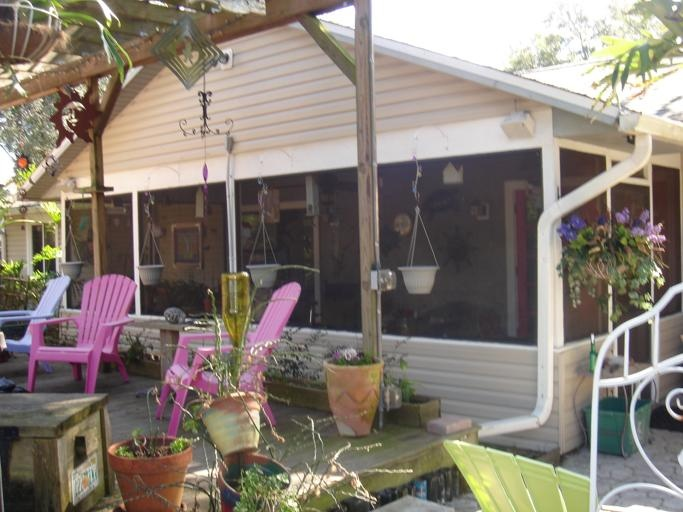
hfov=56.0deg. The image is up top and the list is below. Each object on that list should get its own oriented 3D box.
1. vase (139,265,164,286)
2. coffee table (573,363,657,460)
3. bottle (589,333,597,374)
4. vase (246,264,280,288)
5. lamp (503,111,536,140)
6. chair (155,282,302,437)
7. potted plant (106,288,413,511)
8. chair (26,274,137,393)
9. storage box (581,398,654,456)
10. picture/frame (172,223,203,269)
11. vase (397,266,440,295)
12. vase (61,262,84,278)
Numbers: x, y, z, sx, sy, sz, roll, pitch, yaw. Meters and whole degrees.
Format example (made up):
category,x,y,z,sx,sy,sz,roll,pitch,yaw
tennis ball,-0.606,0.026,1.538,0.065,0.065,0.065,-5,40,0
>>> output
category,x,y,z,sx,sy,sz,roll,pitch,yaw
vase,-2.261,0.209,7.607,0.235,0.196,0.252,0,6,-11
coffee table,2.390,1.309,5.636,0.651,0.536,1.006,-3,-2,33
bottle,2.211,0.838,5.655,0.067,0.315,0.518,-3,-5,21
vase,-0.799,0.185,6.535,0.379,0.292,0.414,-1,-4,1
lamp,1.447,-1.080,5.287,0.240,0.208,0.193,-5,-5,35
chair,-0.850,0.747,5.048,1.303,1.357,0.982,1,-1,-31
potted plant,-0.613,0.705,4.605,1.471,2.193,1.346,4,-7,-38
chair,-2.597,0.701,6.512,0.941,1.283,1.223,0,1,19
storage box,2.402,1.474,5.610,0.556,0.495,0.876,-3,-5,32
picture/frame,-2.193,-0.143,9.156,0.553,0.864,0.153,0,1,33
vase,0.716,0.195,5.834,0.280,0.201,0.298,-1,0,-16
vase,-3.609,0.172,8.604,0.229,0.206,0.237,2,4,40
